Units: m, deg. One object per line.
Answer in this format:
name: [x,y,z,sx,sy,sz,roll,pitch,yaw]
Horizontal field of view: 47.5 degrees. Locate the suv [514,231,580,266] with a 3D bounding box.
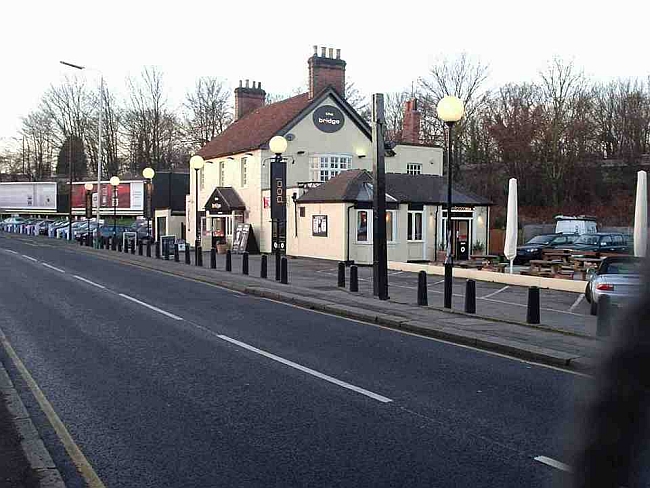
suv: [9.345,0.045,32.118,3.532,1.526,1.663,0,-2,-39]

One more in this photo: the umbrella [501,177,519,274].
umbrella: [5.826,-0.563,23.556,0.314,3.031,0.878,2,6,17]

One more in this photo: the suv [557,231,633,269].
suv: [9.308,0.184,26.084,1.617,0.956,0.999,3,-2,-26]

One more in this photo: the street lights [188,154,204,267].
street lights: [-5.470,-1.368,32.116,0.735,5.295,0.801,0,12,-6]
